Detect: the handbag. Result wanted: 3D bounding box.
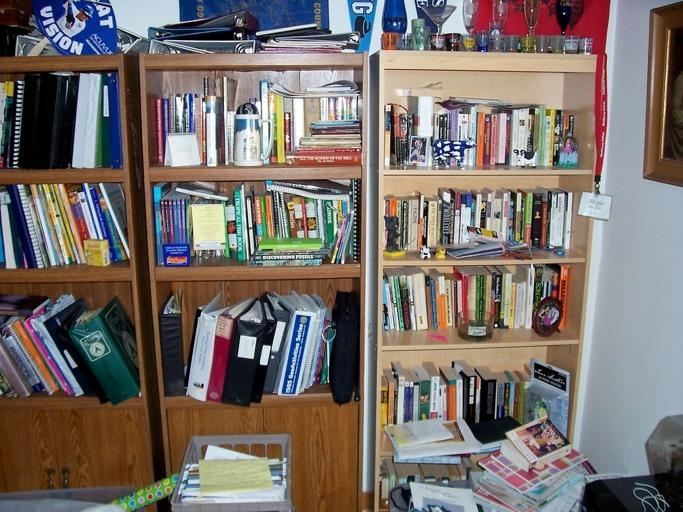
[{"bbox_3d":[-0.011,0.567,2.848,0.129,0.345,0.451,-1,-18,-8],"label":"handbag"}]

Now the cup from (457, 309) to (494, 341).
[{"bbox_3d":[0.645,0.327,2.742,0.137,0.084,0.137,2,4,0],"label":"cup"}]

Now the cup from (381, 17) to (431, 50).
[{"bbox_3d":[0.277,-0.972,2.498,0.235,0.148,0.122,-2,16,-6],"label":"cup"}]

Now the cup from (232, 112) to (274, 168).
[{"bbox_3d":[-0.394,-0.515,2.534,0.171,0.228,0.115,-5,11,-15],"label":"cup"}]

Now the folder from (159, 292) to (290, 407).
[{"bbox_3d":[-0.608,0.385,2.838,0.510,0.605,0.464,6,13,-21],"label":"folder"}]
